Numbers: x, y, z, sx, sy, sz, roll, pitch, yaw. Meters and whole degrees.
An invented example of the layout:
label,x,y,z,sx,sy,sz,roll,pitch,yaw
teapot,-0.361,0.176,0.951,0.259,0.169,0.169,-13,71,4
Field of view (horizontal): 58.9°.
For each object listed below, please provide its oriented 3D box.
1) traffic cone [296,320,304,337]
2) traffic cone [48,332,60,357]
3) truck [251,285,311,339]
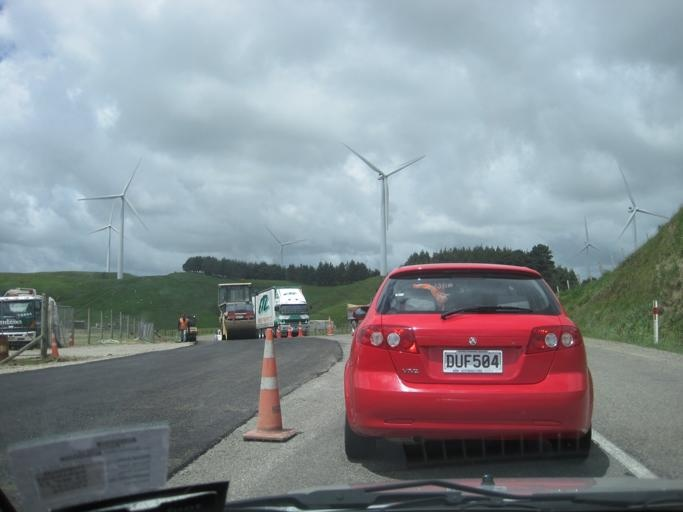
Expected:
label,x,y,z,sx,sy,sz,roll,pitch,yaw
traffic cone,-3.346,5.546,45.533,0.776,0.986,0.844,-3,-12,5
traffic cone,-10.048,3.131,21.089,0.262,0.868,0.912,3,-8,-24
truck,-5.332,4.708,49.247,2.439,3.893,7.841,1,-9,-23
